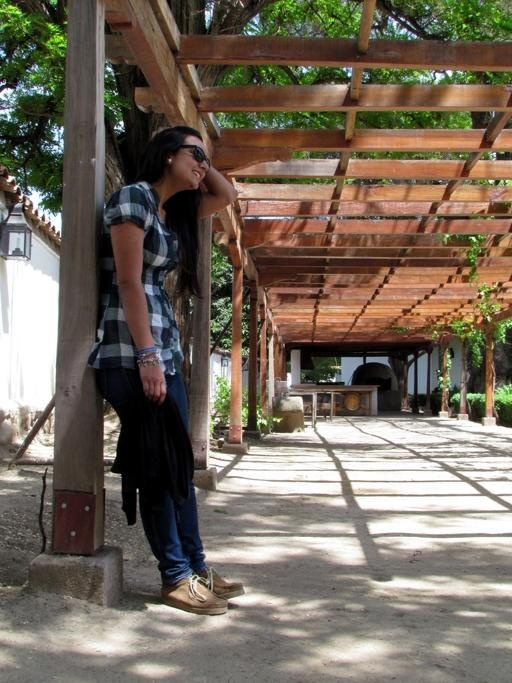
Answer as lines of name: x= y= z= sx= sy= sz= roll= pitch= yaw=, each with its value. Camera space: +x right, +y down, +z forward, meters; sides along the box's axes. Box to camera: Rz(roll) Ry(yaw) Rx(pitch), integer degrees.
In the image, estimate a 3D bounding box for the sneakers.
sneakers: x=-0.191 y=0.822 z=1.848 sx=0.173 sy=0.073 sz=0.204 roll=-1 pitch=-9 yaw=9
